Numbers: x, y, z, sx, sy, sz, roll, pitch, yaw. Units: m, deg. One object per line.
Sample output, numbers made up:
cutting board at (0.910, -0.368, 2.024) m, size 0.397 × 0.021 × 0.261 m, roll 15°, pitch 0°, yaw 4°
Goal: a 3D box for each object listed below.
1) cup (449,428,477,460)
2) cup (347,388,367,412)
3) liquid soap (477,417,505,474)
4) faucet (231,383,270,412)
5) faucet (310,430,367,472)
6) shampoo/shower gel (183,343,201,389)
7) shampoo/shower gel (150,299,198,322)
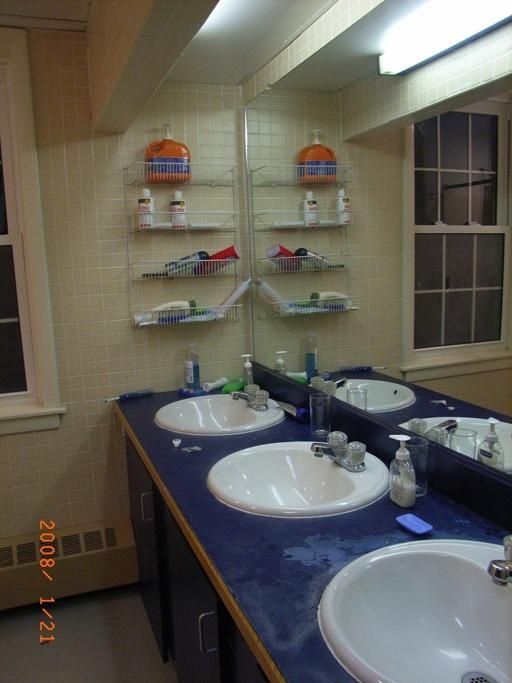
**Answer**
cup at (0.442, 0.216, 1.185) m, size 0.056 × 0.077 × 0.048 m, roll -5°, pitch 16°, yaw -2°
cup at (0.300, 0.173, 1.631) m, size 0.058 × 0.086 × 0.054 m, roll -1°, pitch 3°, yaw 0°
liquid soap at (0.461, 0.202, 1.090) m, size 0.021 × 0.098 × 0.083 m, roll -9°, pitch 11°, yaw -3°
faucet at (-0.023, 0.210, 2.036) m, size 0.055 × 0.068 × 0.184 m, roll -4°, pitch 7°, yaw -26°
faucet at (0.220, 0.284, 1.404) m, size 0.089 × 0.041 × 0.118 m, roll -4°, pitch 8°, yaw -18°
shampoo/shower gel at (-0.274, 0.112, 2.386) m, size 0.078 × 0.198 × 0.149 m, roll -10°, pitch 11°, yaw -7°
shampoo/shower gel at (-0.333, -0.121, 2.261) m, size 0.179 × 0.073 × 0.112 m, roll -9°, pitch 10°, yaw -9°
